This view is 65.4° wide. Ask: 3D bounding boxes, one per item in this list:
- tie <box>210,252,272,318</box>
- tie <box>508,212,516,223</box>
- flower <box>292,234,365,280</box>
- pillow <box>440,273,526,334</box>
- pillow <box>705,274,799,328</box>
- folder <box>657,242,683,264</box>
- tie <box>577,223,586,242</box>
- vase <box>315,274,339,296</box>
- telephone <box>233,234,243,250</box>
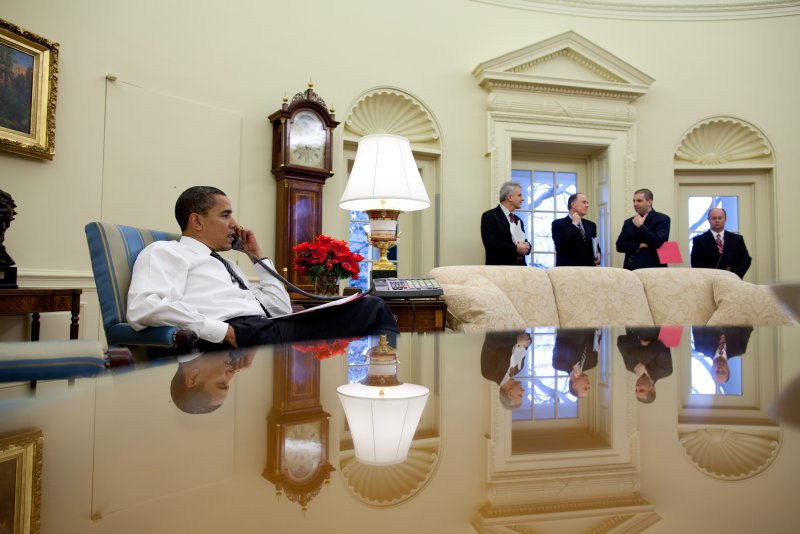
[{"bbox_3d":[-0.708,0.078,2.746,0.054,0.393,0.055,-25,-21,-46],"label":"tie"},{"bbox_3d":[0.878,-0.391,4.931,0.050,0.023,0.070,23,-30,26],"label":"tie"},{"bbox_3d":[-0.410,-0.043,3.498,0.269,0.252,0.275,5,0,-23],"label":"flower"},{"bbox_3d":[0.341,0.200,2.750,0.392,0.189,0.428,4,9,15],"label":"pillow"},{"bbox_3d":[1.506,0.144,2.727,0.247,0.186,0.875,5,9,25],"label":"pillow"},{"bbox_3d":[2.116,-0.109,4.843,0.253,0.166,0.133,-5,10,-35],"label":"folder"},{"bbox_3d":[1.435,-0.278,4.908,0.032,0.130,0.092,-1,11,42],"label":"tie"},{"bbox_3d":[-0.409,0.100,3.459,0.108,0.085,0.108,0,-4,-10],"label":"vase"},{"bbox_3d":[-0.713,-0.109,2.758,0.046,0.063,0.061,-9,-1,-40],"label":"telephone"}]
